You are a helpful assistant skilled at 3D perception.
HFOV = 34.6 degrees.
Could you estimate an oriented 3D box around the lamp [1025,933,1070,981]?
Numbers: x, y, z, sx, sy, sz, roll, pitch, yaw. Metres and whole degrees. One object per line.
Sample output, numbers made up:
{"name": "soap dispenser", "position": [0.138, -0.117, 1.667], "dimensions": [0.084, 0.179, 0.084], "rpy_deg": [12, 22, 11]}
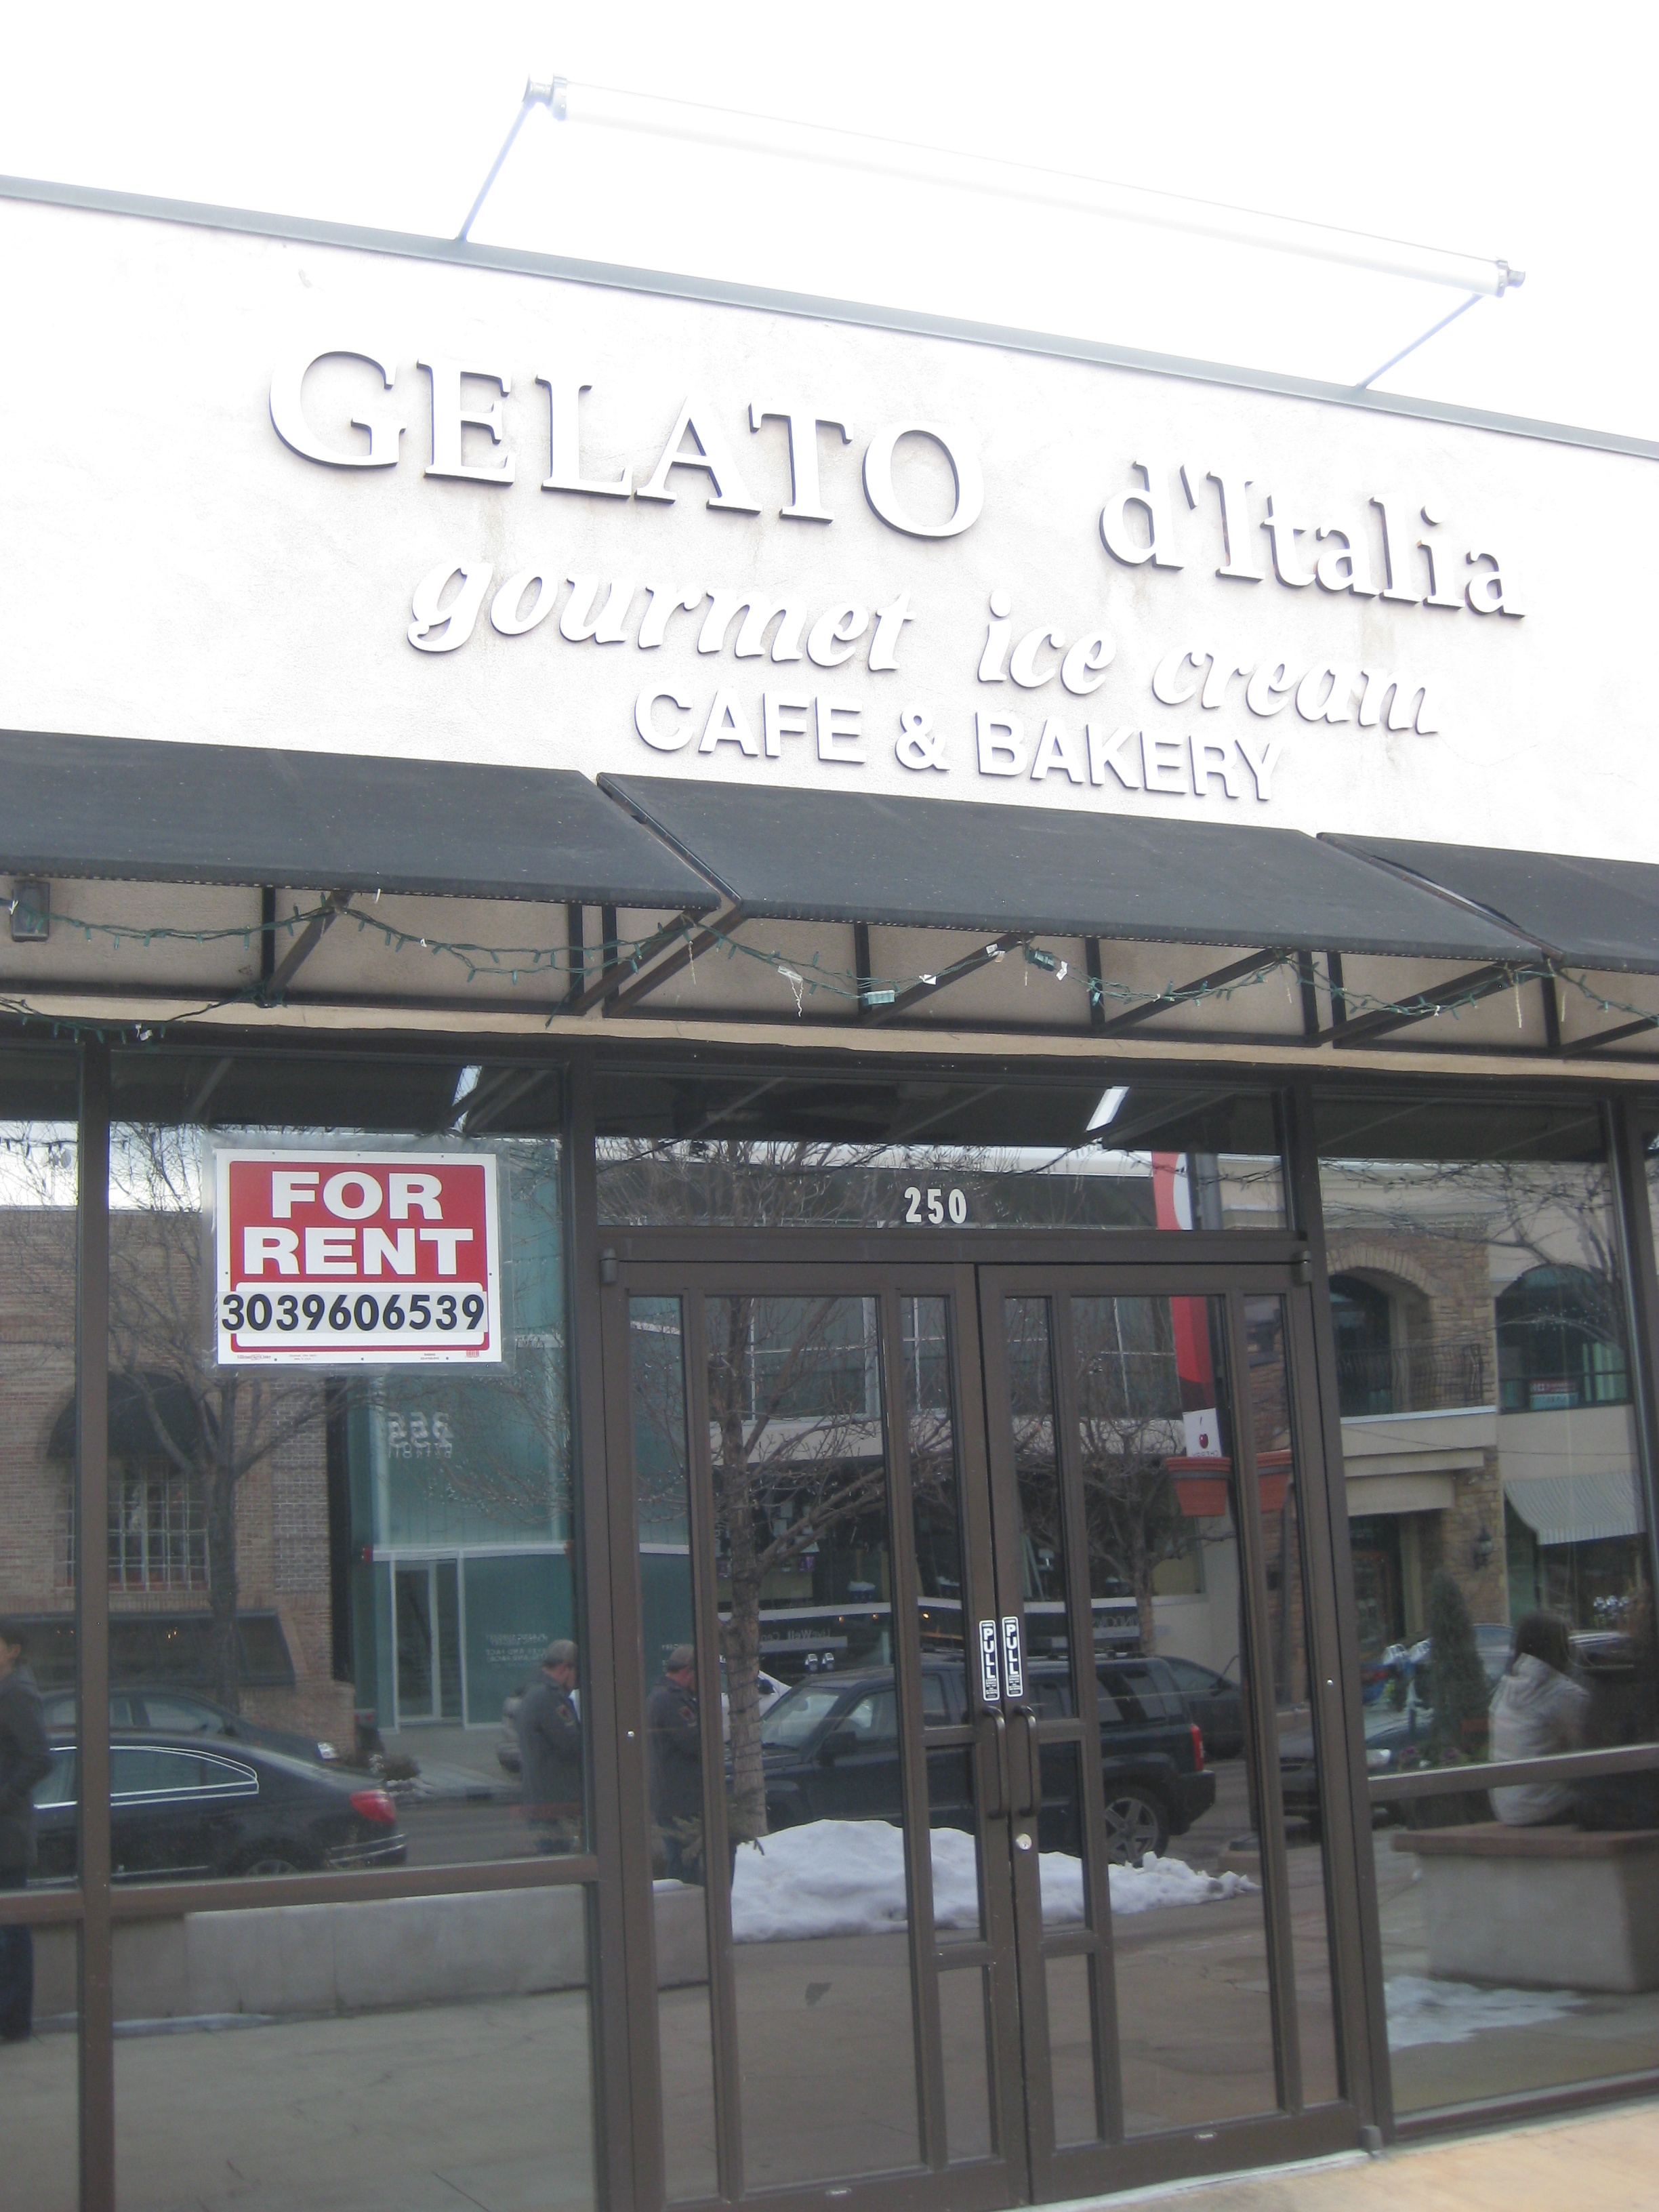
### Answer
{"name": "lamp", "position": [0.599, -0.399, 7.293], "dimensions": [0.108, 0.093, 0.215], "rpy_deg": [-7, -11, 11]}
